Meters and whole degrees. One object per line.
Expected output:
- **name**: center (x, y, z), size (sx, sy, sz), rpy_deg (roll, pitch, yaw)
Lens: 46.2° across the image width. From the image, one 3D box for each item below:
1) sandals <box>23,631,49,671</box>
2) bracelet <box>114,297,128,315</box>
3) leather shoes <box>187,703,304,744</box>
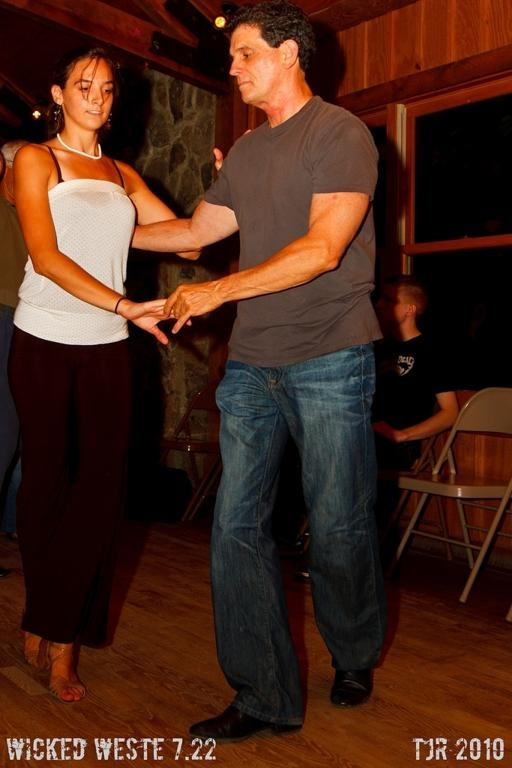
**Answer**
- **sandals**: center (-0.670, 0.814, 1.824), size (0.058, 0.073, 0.168), rpy_deg (4, -9, -18)
- **bracelet**: center (-0.345, -0.199, 1.554), size (0.012, 0.047, 0.035), rpy_deg (7, 4, -39)
- **leather shoes**: center (-0.029, 0.771, 1.404), size (0.274, 0.110, 0.089), rpy_deg (7, -15, -14)
